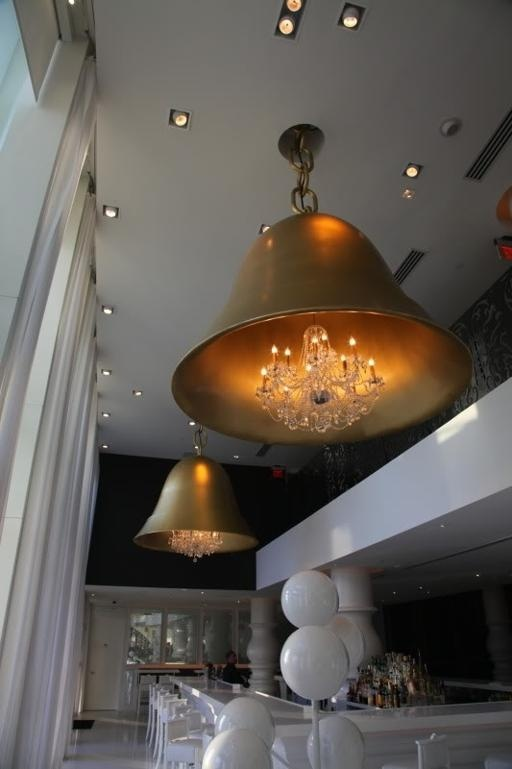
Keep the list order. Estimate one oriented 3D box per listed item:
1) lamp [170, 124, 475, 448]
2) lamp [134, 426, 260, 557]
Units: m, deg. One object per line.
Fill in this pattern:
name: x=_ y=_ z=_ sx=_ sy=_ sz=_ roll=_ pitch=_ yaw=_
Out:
lamp: x=0.166 y=-0.368 z=1.364 sx=0.510 sy=0.774 sz=0.580 roll=-17 pitch=-19 yaw=35
lamp: x=-0.311 y=0.536 z=2.910 sx=0.541 sy=0.643 sz=0.530 roll=2 pitch=-8 yaw=-41
